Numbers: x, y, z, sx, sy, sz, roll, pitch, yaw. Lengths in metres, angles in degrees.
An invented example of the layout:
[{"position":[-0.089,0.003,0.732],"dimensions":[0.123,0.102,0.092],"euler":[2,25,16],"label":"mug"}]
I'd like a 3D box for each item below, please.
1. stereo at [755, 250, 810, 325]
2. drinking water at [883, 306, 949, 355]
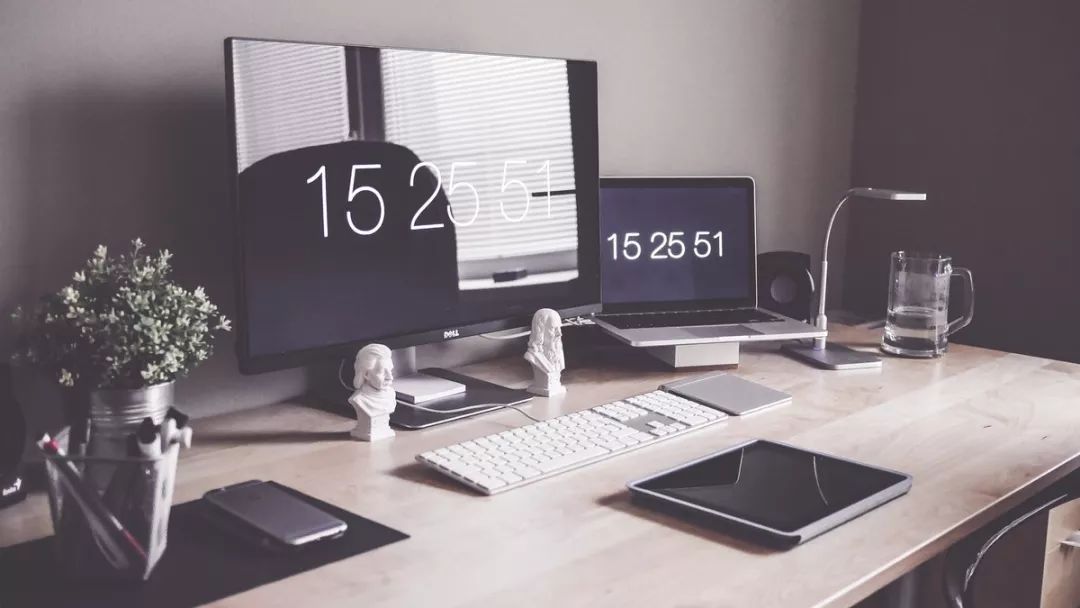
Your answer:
[{"position":[0.728,-0.057,2.253],"dimensions":[0.218,0.187,0.050],"euler":[10,8,7],"label":"stereo"},{"position":[1.019,0.074,2.054],"dimensions":[0.171,0.107,0.134],"euler":[1,0,-34],"label":"drinking water"}]
